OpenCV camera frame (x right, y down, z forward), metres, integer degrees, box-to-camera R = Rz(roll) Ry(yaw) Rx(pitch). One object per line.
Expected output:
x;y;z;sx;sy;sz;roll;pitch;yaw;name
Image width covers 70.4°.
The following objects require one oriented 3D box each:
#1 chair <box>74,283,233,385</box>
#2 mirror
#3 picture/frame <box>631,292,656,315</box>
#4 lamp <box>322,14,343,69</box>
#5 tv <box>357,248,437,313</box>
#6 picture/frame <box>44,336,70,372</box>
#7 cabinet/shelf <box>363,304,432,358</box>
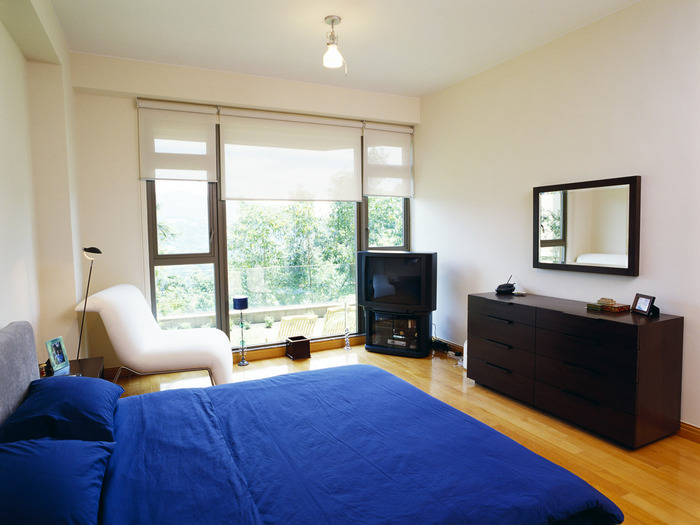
-1.632;0.611;4.389;1.152;0.732;0.780;2;5;-9;chair
2.018;-0.316;4.185;0.063;0.801;0.836;-3;5;-35;mirror
2.231;0.314;3.781;0.114;0.145;0.196;1;5;-1;picture/frame
-0.135;-1.714;3.882;0.157;0.360;0.162;2;11;13;lamp
0.564;0.193;5.862;0.943;0.715;0.512;2;9;25;tv
-2.174;0.672;3.665;0.022;0.297;0.258;-15;2;-4;picture/frame
0.580;0.714;5.851;0.845;0.597;0.496;1;8;21;cabinet/shelf
